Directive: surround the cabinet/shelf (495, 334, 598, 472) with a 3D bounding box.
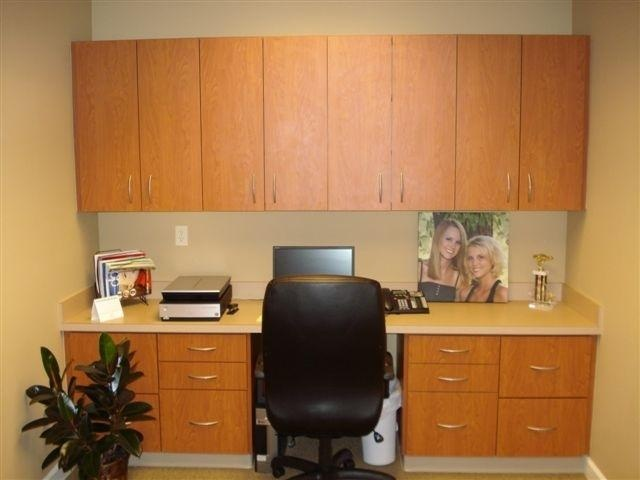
[{"bbox_3d":[1.409,0.968,3.812,0.592,0.823,0.545,-1,9,-1],"label":"cabinet/shelf"}]

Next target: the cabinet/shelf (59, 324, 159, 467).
[{"bbox_3d":[-1.284,0.883,3.613,0.550,1.089,0.582,-1,-1,-7],"label":"cabinet/shelf"}]

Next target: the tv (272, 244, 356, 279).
[{"bbox_3d":[-0.044,0.169,3.856,0.540,0.046,0.310,0,42,1],"label":"tv"}]

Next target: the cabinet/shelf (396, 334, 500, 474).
[{"bbox_3d":[0.850,0.944,3.841,0.704,0.837,0.676,4,11,28],"label":"cabinet/shelf"}]

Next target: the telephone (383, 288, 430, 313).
[{"bbox_3d":[0.578,0.428,3.822,0.225,0.068,0.193,-2,25,0],"label":"telephone"}]

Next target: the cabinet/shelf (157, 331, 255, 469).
[{"bbox_3d":[-0.730,0.947,3.894,0.641,0.875,0.598,0,10,-6],"label":"cabinet/shelf"}]

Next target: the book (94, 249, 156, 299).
[{"bbox_3d":[-1.300,0.221,3.904,0.283,0.377,0.390,-3,4,-43],"label":"book"}]

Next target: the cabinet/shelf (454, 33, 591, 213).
[{"bbox_3d":[1.320,-0.786,3.676,1.065,1.381,0.529,1,6,7],"label":"cabinet/shelf"}]
